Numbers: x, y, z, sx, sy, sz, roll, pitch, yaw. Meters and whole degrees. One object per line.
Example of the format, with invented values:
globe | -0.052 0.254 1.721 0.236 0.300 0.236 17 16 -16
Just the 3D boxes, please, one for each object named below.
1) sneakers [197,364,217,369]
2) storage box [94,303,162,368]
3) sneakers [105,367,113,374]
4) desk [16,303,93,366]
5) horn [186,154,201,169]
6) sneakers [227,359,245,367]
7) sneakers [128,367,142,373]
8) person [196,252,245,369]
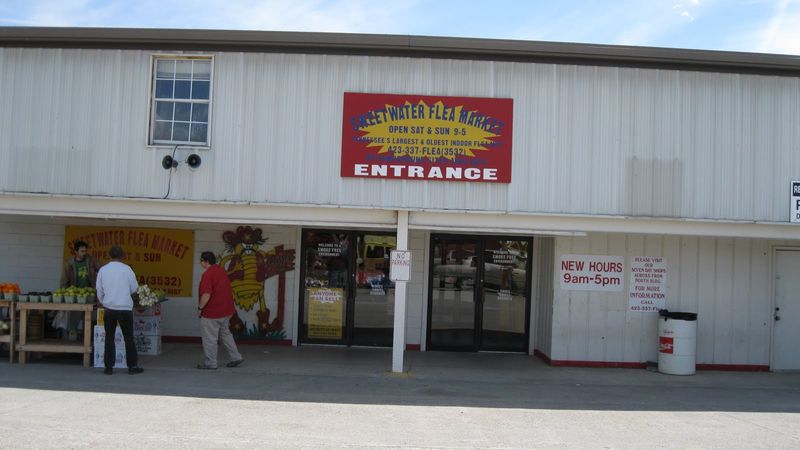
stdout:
sneakers | -4.577 3.368 21.258 0.422 0.157 0.147 1 -5 -2
storage box | -6.886 2.800 21.537 2.045 1.754 1.337 -1 -5 -5
sneakers | -6.750 3.355 20.652 0.226 0.163 0.194 0 -2 -1
desk | -8.231 2.558 21.615 1.806 1.184 1.642 1 -1 -9
horn | -4.848 -1.487 21.056 0.346 0.322 0.341 4 -1 -21
sneakers | -3.944 3.329 21.469 0.434 0.161 0.151 -9 -6 -9
sneakers | -6.121 3.370 20.770 0.344 0.131 0.138 -1 3 -25
person | -4.396 2.027 21.749 0.995 2.765 1.577 0 -2 -11
